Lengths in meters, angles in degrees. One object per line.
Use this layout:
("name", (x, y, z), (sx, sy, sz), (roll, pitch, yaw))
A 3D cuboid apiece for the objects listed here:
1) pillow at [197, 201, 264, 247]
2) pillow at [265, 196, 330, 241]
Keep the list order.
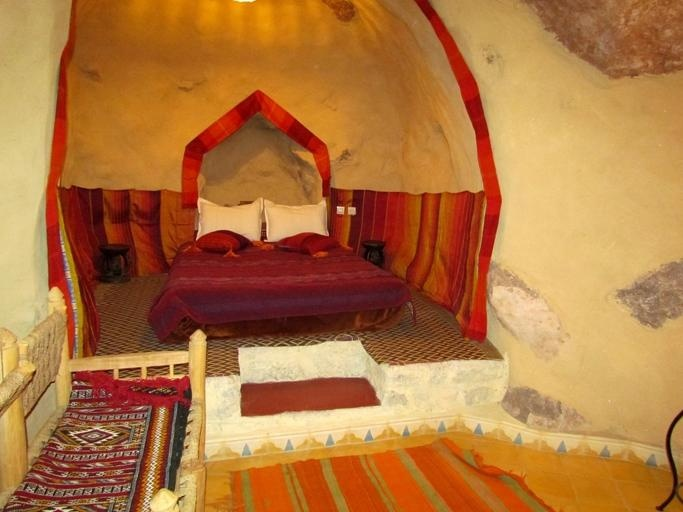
("pillow", (-1.279, -0.419, 5.879), (0.713, 0.492, 0.196), (2, -7, -10))
("pillow", (-0.543, -0.446, 6.018), (0.631, 0.428, 0.165), (0, -13, -16))
